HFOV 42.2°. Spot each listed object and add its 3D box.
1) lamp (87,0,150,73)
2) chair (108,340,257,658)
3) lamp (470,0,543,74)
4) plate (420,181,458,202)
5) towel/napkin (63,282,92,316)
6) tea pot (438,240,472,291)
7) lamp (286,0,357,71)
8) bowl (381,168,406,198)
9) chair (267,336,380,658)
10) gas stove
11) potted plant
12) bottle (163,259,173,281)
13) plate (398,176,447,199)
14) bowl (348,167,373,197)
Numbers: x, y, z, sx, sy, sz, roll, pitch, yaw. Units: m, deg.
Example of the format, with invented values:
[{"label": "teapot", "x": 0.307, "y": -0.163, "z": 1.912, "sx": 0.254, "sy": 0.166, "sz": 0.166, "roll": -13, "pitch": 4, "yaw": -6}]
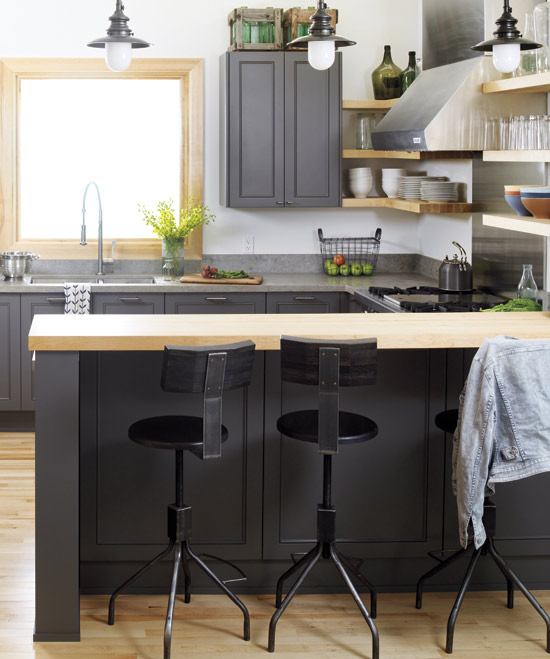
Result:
[{"label": "lamp", "x": -0.598, "y": -1.129, "z": 2.704, "sx": 0.202, "sy": 0.297, "sz": 0.283, "roll": -3, "pitch": 7, "yaw": -14}, {"label": "chair", "x": -0.298, "y": 0.480, "z": 2.142, "sx": 0.460, "sy": 0.924, "sz": 0.539, "roll": -3, "pitch": 7, "yaw": -11}, {"label": "lamp", "x": 0.805, "y": -1.024, "z": 2.504, "sx": 0.229, "sy": 0.256, "sz": 0.250, "roll": 1, "pitch": 7, "yaw": 22}, {"label": "plate", "x": 0.936, "y": -0.768, "z": 4.074, "sx": 0.160, "sy": 0.068, "sz": 0.150, "roll": 2, "pitch": 7, "yaw": 7}, {"label": "towel/napkin", "x": -1.186, "y": -0.189, "z": 4.277, "sx": 0.167, "sy": 0.175, "sz": 0.119, "roll": -3, "pitch": 7, "yaw": -14}, {"label": "tea pot", "x": 0.969, "y": -0.346, "z": 4.004, "sx": 0.227, "sy": 0.306, "sz": 0.308, "roll": -1, "pitch": 6, "yaw": -9}, {"label": "lamp", "x": 0.158, "y": -1.107, "z": 2.662, "sx": 0.210, "sy": 0.269, "sz": 0.292, "roll": -5, "pitch": 7, "yaw": -25}, {"label": "bowl", "x": 0.757, "y": -0.952, "z": 4.692, "sx": 0.199, "sy": 0.205, "sz": 0.189, "roll": 1, "pitch": 6, "yaw": 0}, {"label": "chair", "x": 0.142, "y": 0.468, "z": 2.188, "sx": 0.347, "sy": 0.948, "sz": 0.484, "roll": -1, "pitch": 7, "yaw": 4}, {"label": "gas stove", "x": 0.836, "y": -0.163, "z": 3.648, "sx": 0.672, "sy": 0.086, "sz": 0.934, "roll": -1, "pitch": 6, "yaw": 3}, {"label": "potted plant", "x": -0.666, "y": -0.607, "z": 4.813, "sx": 0.566, "sy": 0.535, "sz": 0.568, "roll": -1, "pitch": 10, "yaw": -10}, {"label": "bottle", "x": -0.691, "y": -0.390, "z": 4.628, "sx": 0.064, "sy": 0.140, "sz": 0.129, "roll": -3, "pitch": 6, "yaw": -9}, {"label": "plate", "x": 0.877, "y": -0.836, "z": 4.193, "sx": 0.265, "sy": 0.100, "sz": 0.261, "roll": -4, "pitch": 5, "yaw": -42}, {"label": "bowl", "x": 0.577, "y": -0.969, "z": 4.756, "sx": 0.206, "sy": 0.203, "sz": 0.188, "roll": 0, "pitch": 2, "yaw": 0}]
